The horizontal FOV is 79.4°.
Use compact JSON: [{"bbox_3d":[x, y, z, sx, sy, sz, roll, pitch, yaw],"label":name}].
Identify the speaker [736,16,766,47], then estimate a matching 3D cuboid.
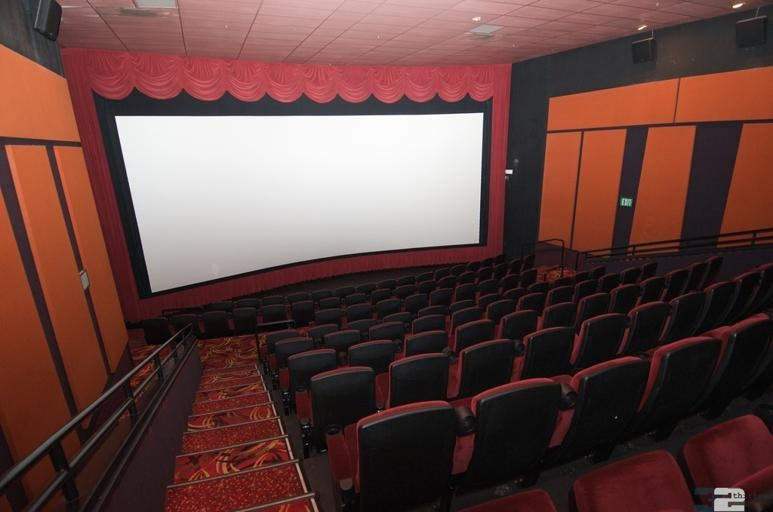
[{"bbox_3d":[7.350,-4.486,9.365,0.204,0.488,0.593,-21,20,-15],"label":"speaker"}]
